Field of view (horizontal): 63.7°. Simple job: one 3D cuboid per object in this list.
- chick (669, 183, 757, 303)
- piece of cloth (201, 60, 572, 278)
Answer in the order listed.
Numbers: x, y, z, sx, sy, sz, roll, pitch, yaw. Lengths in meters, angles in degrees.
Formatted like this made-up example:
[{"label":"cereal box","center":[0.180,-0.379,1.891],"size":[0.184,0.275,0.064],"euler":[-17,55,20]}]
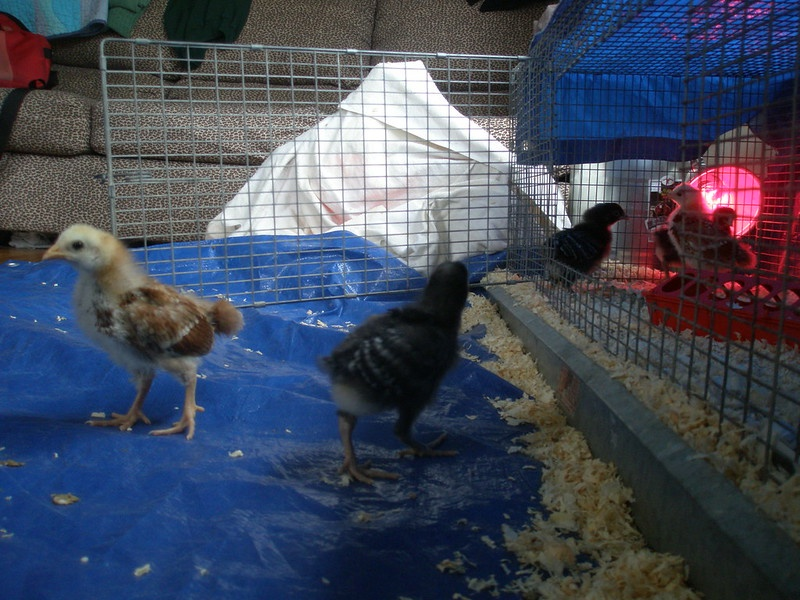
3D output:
[{"label":"chick","center":[1.062,-0.228,2.125],"size":[0.209,0.300,0.299],"euler":[-29,29,-26]},{"label":"piece of cloth","center":[0.173,-0.766,3.851],"size":[2.031,0.816,1.489],"euler":[-18,31,-35]}]
